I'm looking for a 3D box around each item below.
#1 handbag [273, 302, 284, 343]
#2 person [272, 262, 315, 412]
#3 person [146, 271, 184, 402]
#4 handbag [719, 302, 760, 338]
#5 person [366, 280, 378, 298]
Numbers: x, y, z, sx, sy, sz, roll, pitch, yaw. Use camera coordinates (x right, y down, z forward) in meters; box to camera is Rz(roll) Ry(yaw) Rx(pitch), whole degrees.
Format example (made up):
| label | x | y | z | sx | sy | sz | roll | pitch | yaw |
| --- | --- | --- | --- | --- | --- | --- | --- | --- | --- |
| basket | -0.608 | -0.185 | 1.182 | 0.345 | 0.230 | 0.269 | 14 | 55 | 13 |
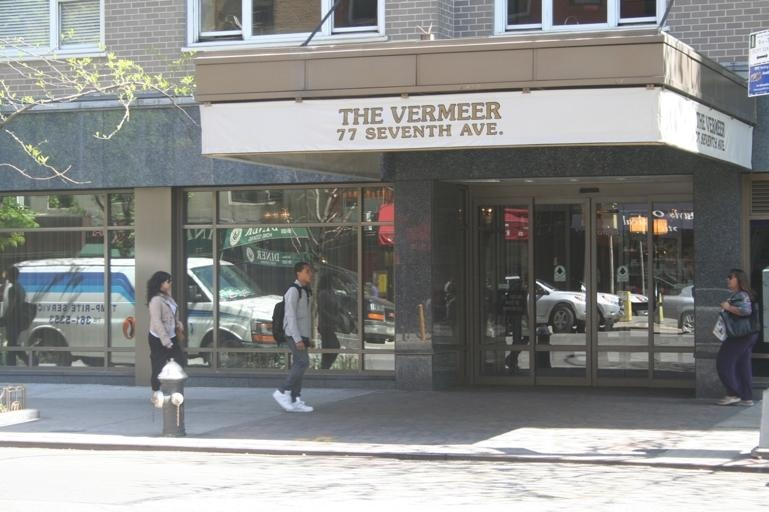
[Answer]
| label | x | y | z | sx | sy | sz | roll | pitch | yaw |
| --- | --- | --- | --- | --- | --- | --- | --- | --- | --- |
| handbag | -1.784 | 1.090 | 18.717 | 0.188 | 0.684 | 0.297 | -1 | -2 | -9 |
| person | -1.540 | 1.358 | 18.736 | 0.618 | 2.525 | 0.584 | -1 | -2 | -6 |
| person | -3.775 | 1.140 | 19.165 | 0.600 | 1.740 | 0.494 | 0 | -2 | -15 |
| handbag | 6.098 | 0.997 | 18.823 | 0.614 | 0.658 | 0.678 | -8 | 14 | -17 |
| person | -0.231 | 0.607 | 21.022 | 0.317 | 0.369 | 0.927 | 3 | -1 | -1 |
